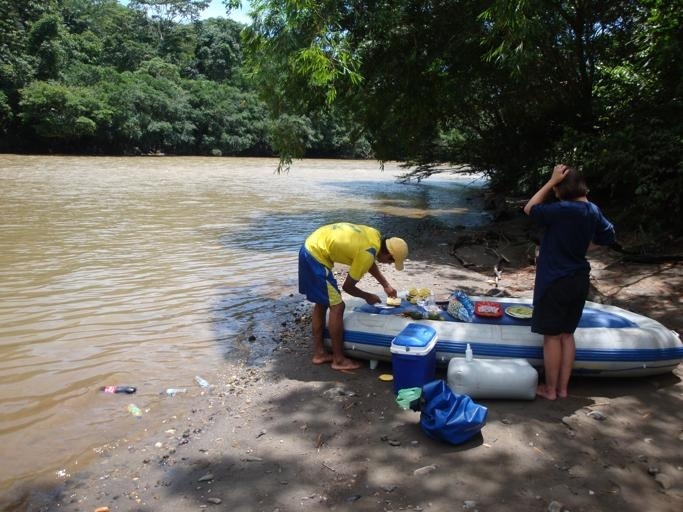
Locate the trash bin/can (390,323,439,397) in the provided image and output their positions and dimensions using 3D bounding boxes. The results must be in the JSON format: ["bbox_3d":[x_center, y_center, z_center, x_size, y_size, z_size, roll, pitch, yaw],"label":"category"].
[{"bbox_3d":[0.946,1.351,7.120,0.628,0.581,0.814,-1,4,13],"label":"trash bin/can"}]

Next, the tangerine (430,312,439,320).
[{"bbox_3d":[1.331,0.863,7.633,0.120,0.080,0.114,9,17,31],"label":"tangerine"}]

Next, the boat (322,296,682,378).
[{"bbox_3d":[2.353,1.107,7.411,3.416,0.561,1.730,2,7,10],"label":"boat"}]

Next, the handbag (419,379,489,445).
[{"bbox_3d":[1.157,1.802,6.096,0.665,0.256,0.835,-34,34,-28],"label":"handbag"}]

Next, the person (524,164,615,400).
[{"bbox_3d":[2.723,0.343,6.594,0.806,2.941,0.743,6,17,25],"label":"person"}]

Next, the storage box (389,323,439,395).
[{"bbox_3d":[0.981,1.335,7.119,0.600,0.568,0.795,-1,7,20],"label":"storage box"}]
